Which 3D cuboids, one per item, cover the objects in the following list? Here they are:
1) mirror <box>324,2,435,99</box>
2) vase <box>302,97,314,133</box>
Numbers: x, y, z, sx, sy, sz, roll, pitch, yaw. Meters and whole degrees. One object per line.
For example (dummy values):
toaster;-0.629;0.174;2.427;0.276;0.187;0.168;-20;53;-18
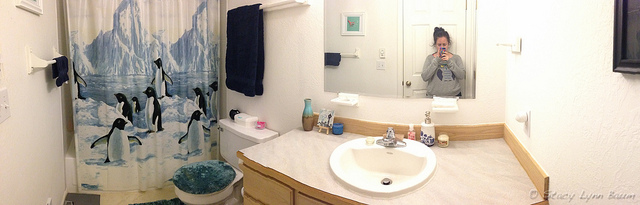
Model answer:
mirror;0.906;-0.838;5.050;1.688;1.539;0.388;-1;17;13
vase;-0.209;0.218;5.243;0.188;0.532;0.220;-5;16;3
